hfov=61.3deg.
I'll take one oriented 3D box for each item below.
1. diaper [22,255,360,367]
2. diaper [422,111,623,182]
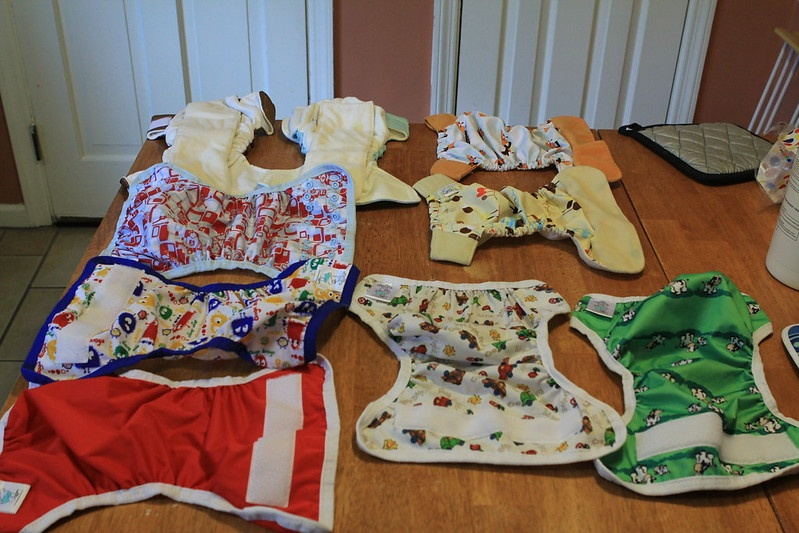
[{"bbox_3d":[-0.461,0.124,1.487,0.510,0.079,0.304,5,42,-4],"label":"diaper"},{"bbox_3d":[0.379,-0.334,1.963,0.371,0.058,0.294,4,44,-4],"label":"diaper"}]
